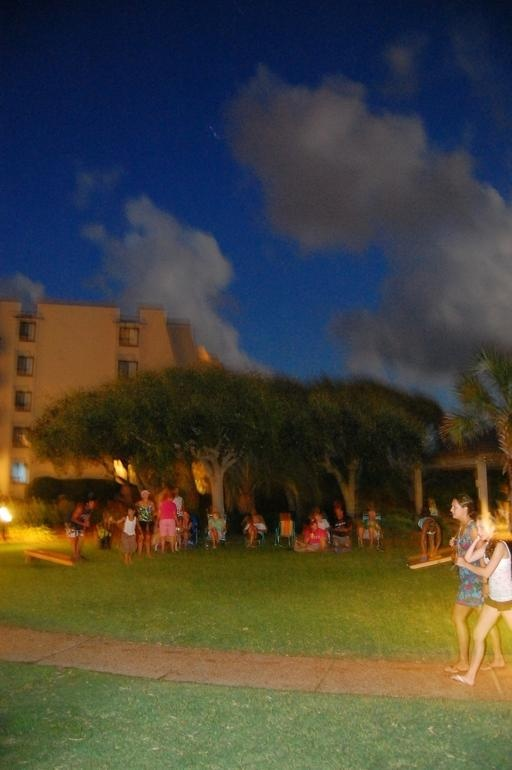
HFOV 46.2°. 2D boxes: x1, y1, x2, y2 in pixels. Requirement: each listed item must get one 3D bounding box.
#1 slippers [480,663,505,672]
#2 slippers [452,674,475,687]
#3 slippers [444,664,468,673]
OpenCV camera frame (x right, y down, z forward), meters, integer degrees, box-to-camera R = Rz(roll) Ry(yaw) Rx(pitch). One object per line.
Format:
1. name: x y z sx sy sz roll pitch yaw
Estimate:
1. slippers: 2.188 2.636 5.584 0.232 0.071 0.095 3 -11 -8
2. slippers: 1.772 2.547 5.142 0.140 0.050 0.080 3 -16 46
3. slippers: 1.814 2.598 5.450 0.155 0.048 0.091 9 -20 -15
